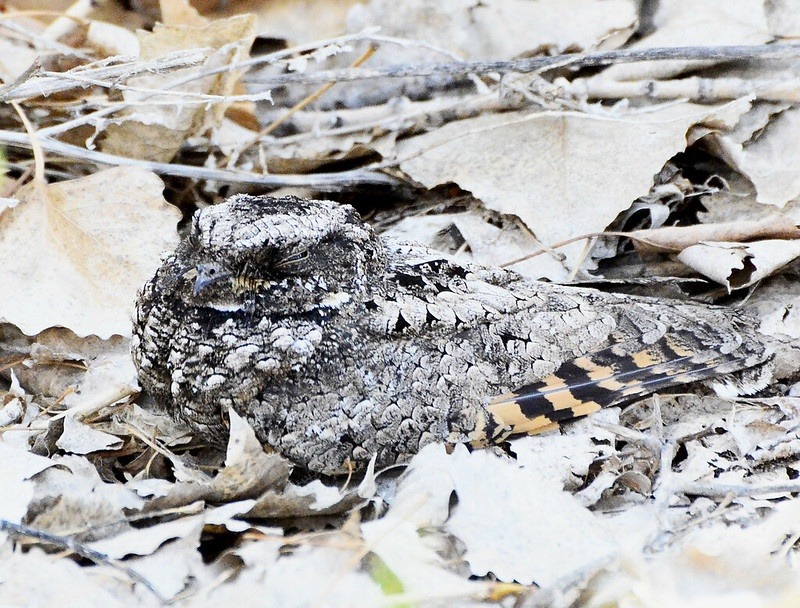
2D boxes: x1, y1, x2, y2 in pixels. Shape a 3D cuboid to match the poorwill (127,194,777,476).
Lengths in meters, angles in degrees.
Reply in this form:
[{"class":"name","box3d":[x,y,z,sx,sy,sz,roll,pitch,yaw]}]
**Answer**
[{"class":"poorwill","box3d":[-0.010,0.024,3.427,2.035,0.803,0.568,-4,-74,6]}]
